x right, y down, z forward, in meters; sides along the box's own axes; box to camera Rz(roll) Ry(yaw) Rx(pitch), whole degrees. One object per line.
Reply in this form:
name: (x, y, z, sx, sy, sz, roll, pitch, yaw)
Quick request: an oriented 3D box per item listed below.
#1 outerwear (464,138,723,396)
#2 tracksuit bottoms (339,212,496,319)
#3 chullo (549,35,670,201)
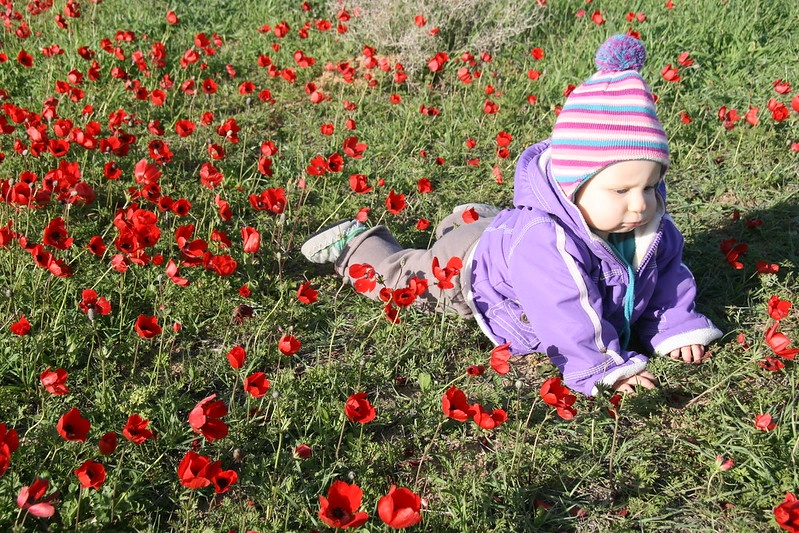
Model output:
outerwear: (0.987, -0.123, 4.349, 1.043, 1.090, 1.749, -15, 26, -13)
tracksuit bottoms: (0.098, 0.037, 4.524, 0.868, 0.317, 0.683, -8, 49, 28)
chullo: (1.175, -0.752, 3.809, 0.622, 0.615, 0.411, -4, 31, 13)
